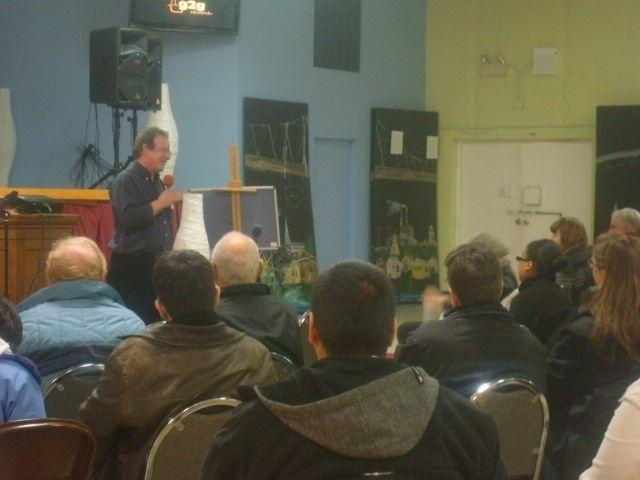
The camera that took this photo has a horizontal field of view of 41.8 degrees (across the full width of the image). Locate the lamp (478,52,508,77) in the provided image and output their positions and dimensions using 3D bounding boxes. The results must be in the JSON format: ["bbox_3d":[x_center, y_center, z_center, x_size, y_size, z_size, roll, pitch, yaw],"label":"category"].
[{"bbox_3d":[1.812,-1.812,8.606,0.213,0.271,0.067,0,0,1],"label":"lamp"}]

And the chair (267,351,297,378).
[{"bbox_3d":[-0.189,0.630,4.282,0.126,0.126,0.166,1,3,-3],"label":"chair"}]

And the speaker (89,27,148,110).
[{"bbox_3d":[-1.700,-1.426,6.956,0.500,0.645,0.250,1,3,-3],"label":"speaker"}]

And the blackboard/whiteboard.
[{"bbox_3d":[-0.603,-0.153,5.817,0.424,0.399,0.066,-2,0,-16],"label":"blackboard/whiteboard"}]
